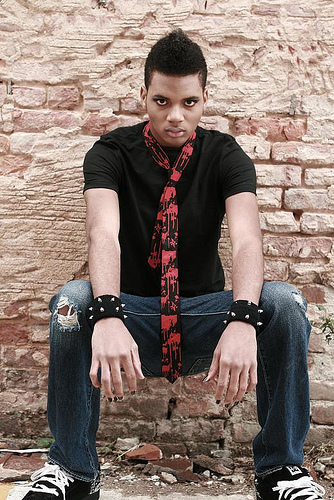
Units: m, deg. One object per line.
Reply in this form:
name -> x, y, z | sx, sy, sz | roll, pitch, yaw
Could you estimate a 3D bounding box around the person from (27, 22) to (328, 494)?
person -> -0.003, -0.013, 1.974 | 0.978, 2.094, 1.018 | 1, 4, -13
